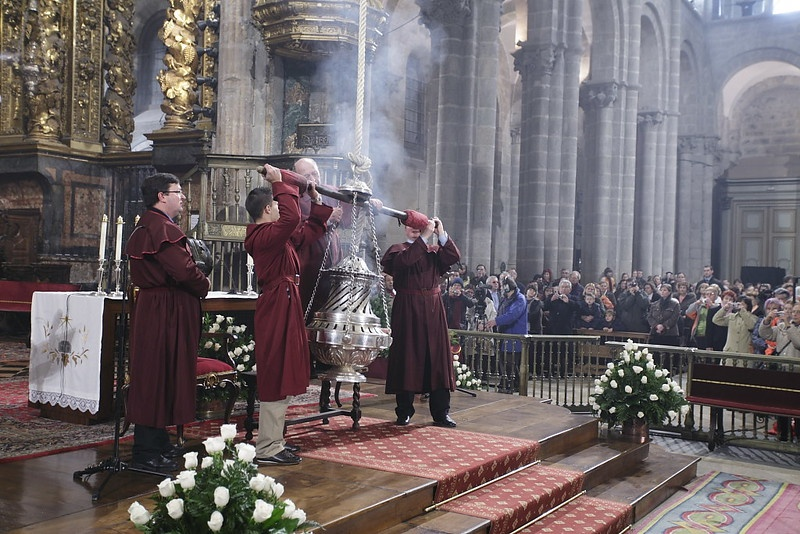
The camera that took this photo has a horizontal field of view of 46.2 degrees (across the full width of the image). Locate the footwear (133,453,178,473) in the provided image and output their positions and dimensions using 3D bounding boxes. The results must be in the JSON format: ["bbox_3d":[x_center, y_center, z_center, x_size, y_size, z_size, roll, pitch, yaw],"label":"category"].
[{"bbox_3d":[-3.282,2.605,12.624,0.663,0.260,0.227,0,-5,-3],"label":"footwear"}]

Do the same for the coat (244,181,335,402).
[{"bbox_3d":[-1.621,0.327,12.872,1.042,2.963,0.438,2,1,-10],"label":"coat"}]

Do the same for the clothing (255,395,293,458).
[{"bbox_3d":[-1.750,2.170,12.820,0.426,0.812,0.223,2,1,-7],"label":"clothing"}]

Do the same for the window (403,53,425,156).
[{"bbox_3d":[0.469,-5.150,30.297,0.135,2.278,1.105,2,1,34],"label":"window"}]

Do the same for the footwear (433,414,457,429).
[{"bbox_3d":[0.671,2.361,14.404,0.379,0.152,0.157,-2,-5,5],"label":"footwear"}]

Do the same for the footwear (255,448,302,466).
[{"bbox_3d":[-1.677,2.590,12.942,0.630,0.234,0.223,1,-5,-4],"label":"footwear"}]
